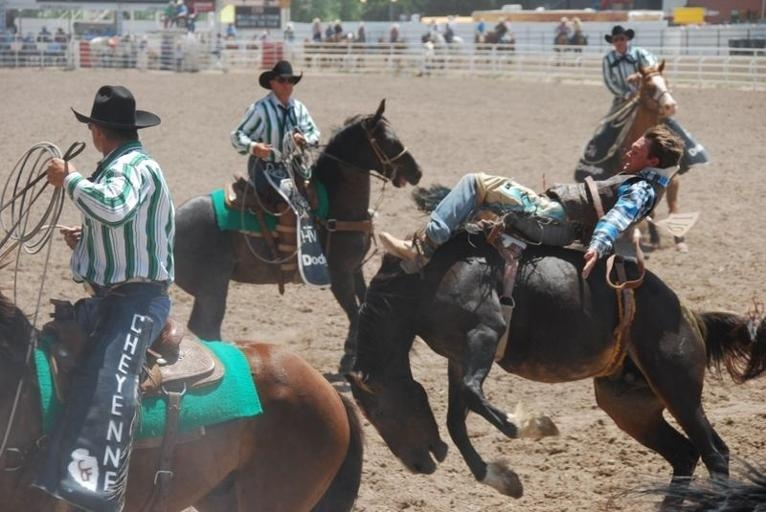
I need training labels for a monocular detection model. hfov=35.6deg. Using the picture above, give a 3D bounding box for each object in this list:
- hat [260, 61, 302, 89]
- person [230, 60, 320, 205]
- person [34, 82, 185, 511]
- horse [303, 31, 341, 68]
[{"bbox_3d":[-1.319,-2.311,14.794,0.399,0.173,0.451,2,-6,-10],"label":"hat"},{"bbox_3d":[-1.344,-1.515,14.660,1.068,1.733,0.834,-5,14,-20],"label":"person"},{"bbox_3d":[-2.734,0.433,11.866,0.916,4.111,1.480,5,14,19],"label":"person"},{"bbox_3d":[-1.730,-5.654,33.382,0.998,0.636,2.243,-1,12,-3],"label":"horse"}]
